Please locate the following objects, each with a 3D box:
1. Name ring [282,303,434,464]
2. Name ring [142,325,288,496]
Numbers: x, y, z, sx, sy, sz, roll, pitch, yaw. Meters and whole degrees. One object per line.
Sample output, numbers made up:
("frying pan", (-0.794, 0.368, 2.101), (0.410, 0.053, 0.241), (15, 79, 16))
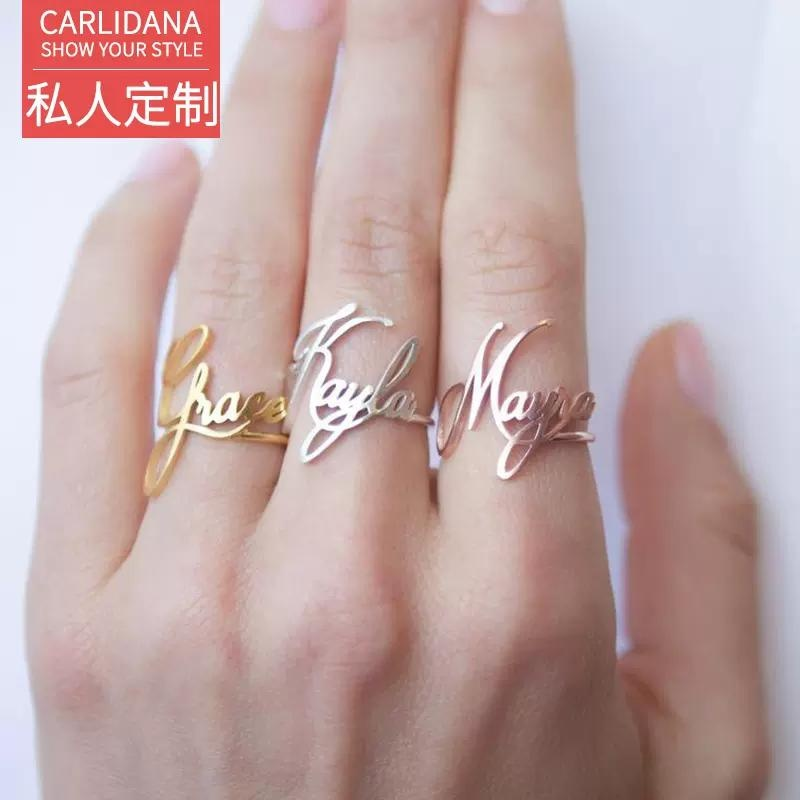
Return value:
("Name ring", (-0.042, -0.025, 0.943), (0.129, 0.170, 0.038), (3, 41, -10))
("Name ring", (-0.184, 0.008, 0.900), (0.116, 0.166, 0.034), (-2, -4, 8))
